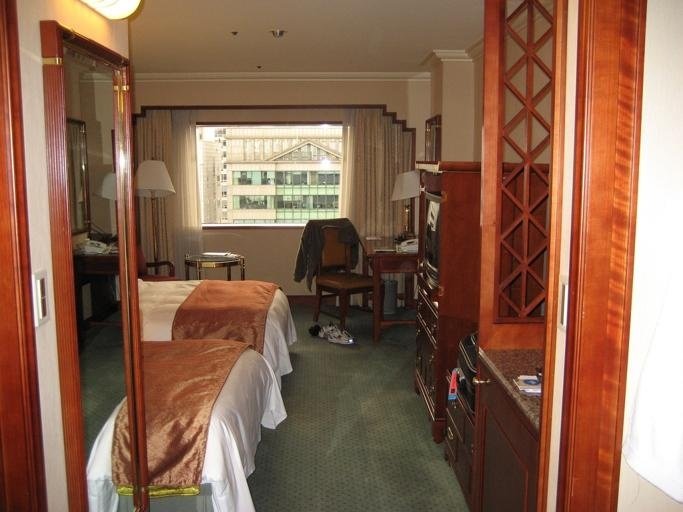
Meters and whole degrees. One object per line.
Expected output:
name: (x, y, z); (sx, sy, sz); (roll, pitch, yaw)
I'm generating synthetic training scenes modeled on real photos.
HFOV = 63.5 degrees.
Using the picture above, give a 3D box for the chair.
chair: (0.049, 0.217, 6.268); (0.596, 1.150, 0.657); (-4, 8, -35)

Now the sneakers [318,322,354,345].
sneakers: (-0.049, 0.805, 5.793); (0.357, 0.154, 0.167); (5, 7, 45)

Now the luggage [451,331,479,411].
luggage: (0.686, 0.667, 3.055); (0.095, 0.328, 0.228); (8, 10, -5)
